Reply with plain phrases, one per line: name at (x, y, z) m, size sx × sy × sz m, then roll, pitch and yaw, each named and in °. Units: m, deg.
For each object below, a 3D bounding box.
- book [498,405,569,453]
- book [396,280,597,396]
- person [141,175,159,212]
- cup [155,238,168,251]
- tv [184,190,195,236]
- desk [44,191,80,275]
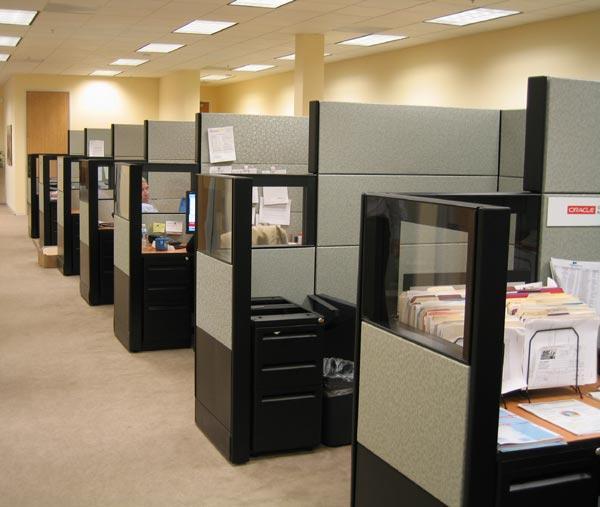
book at (0.660, 0.537, 1.708) m, size 0.223 × 0.039 × 0.222 m, roll -1°, pitch 9°, yaw -14°
book at (0.693, 0.225, 1.853) m, size 0.567 × 0.209 × 0.431 m, roll -1°, pitch 8°, yaw -23°
person at (-1.737, -0.690, 6.301) m, size 0.159 × 0.331 × 1.069 m, roll -2°, pitch 10°, yaw -15°
cup at (-1.292, -0.096, 5.127) m, size 0.112 × 0.110 × 0.113 m, roll 0°, pitch 13°, yaw 0°
tv at (-1.083, -0.406, 5.375) m, size 0.076 × 0.434 × 0.239 m, roll -2°, pitch 9°, yaw -17°
desk at (-3.416, -0.361, 8.027) m, size 0.332 × 1.311 × 0.881 m, roll -3°, pitch 10°, yaw -23°
